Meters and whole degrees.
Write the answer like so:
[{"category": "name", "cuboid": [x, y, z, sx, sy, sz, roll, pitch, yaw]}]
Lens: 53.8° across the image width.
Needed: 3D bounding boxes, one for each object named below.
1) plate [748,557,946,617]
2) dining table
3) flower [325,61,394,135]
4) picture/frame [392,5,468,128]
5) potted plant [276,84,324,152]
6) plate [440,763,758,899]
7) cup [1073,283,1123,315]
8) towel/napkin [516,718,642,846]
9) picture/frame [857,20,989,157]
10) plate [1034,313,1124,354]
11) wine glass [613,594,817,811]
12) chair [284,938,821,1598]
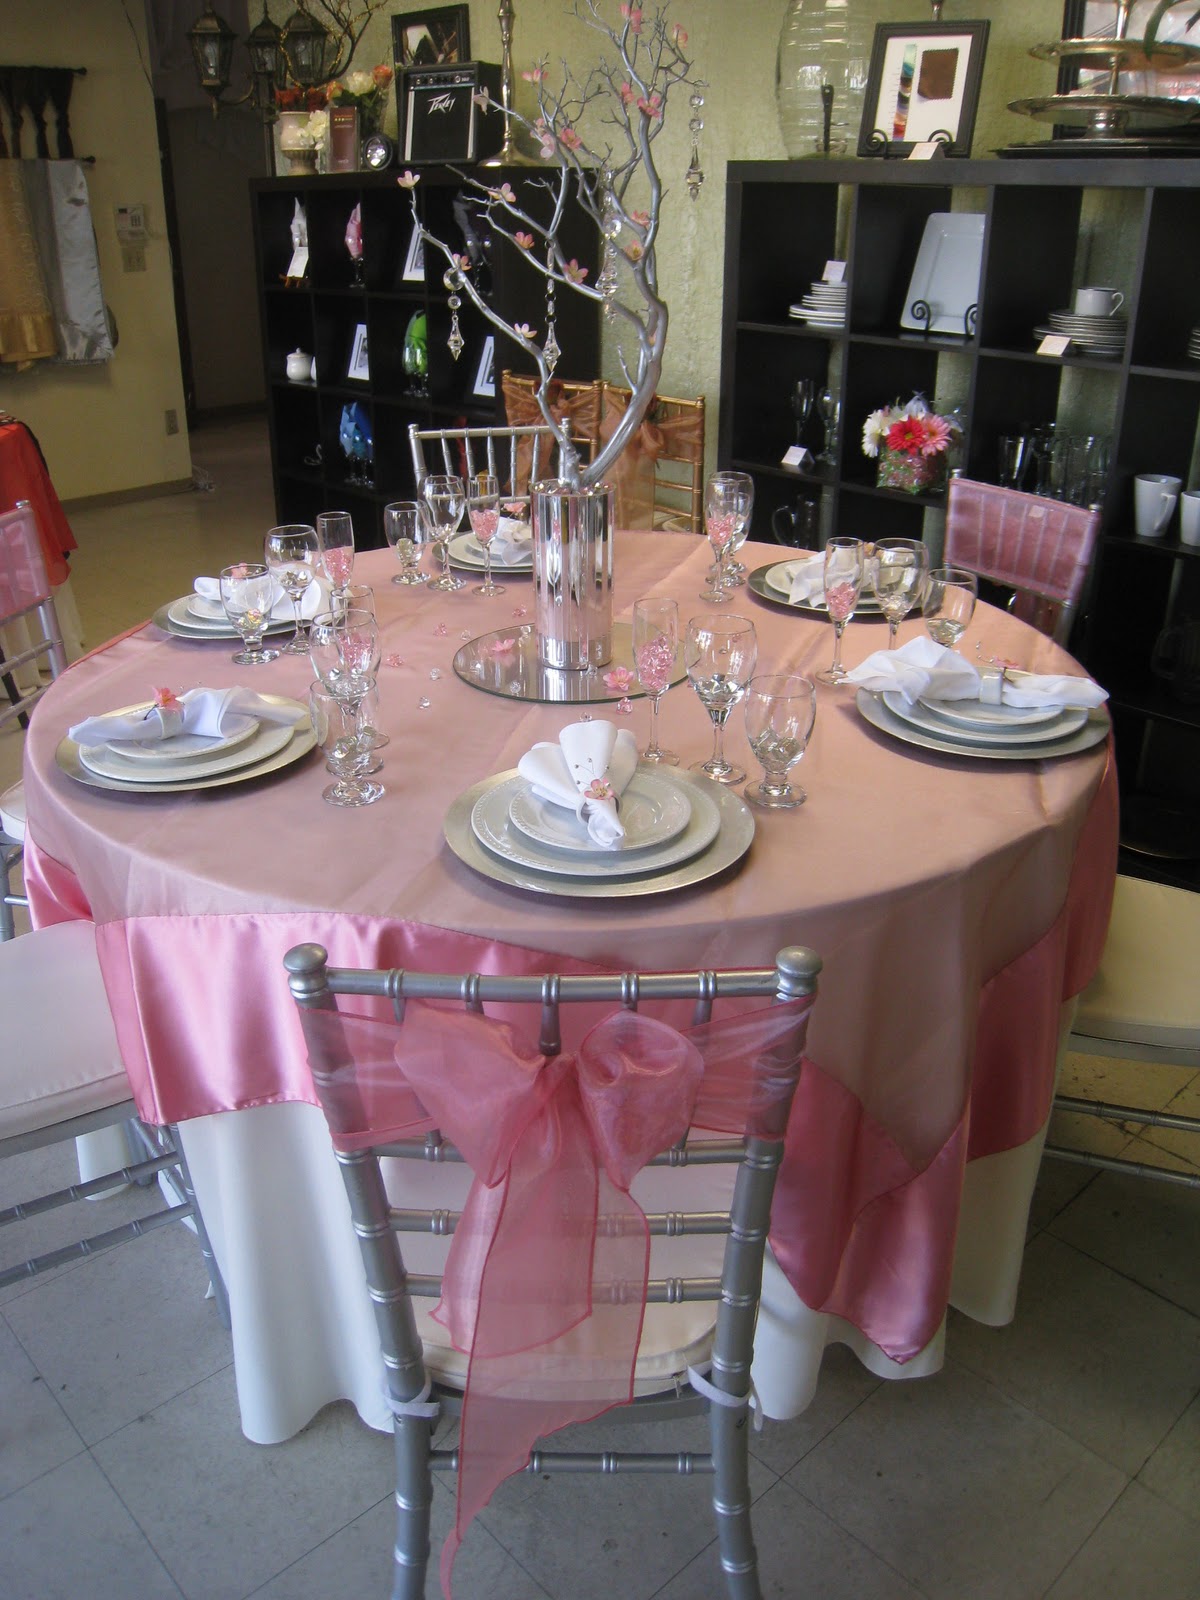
[{"category": "plate", "cuboid": [0.364, -0.306, 1.728, 0.133, 0.015, 0.132, -17, 31, -22]}, {"category": "dining table", "cuboid": [-0.019, 0.145, 1.433, 1.070, 0.601, 1.086, -2, 34, -3]}, {"category": "flower", "cuboid": [-0.917, -2.665, 4.517, 0.248, 0.190, 0.248, -4, 22, -11]}, {"category": "picture/frame", "cuboid": [-0.584, -2.582, 4.170, 0.277, 0.390, 0.574, -3, 22, -9]}, {"category": "potted plant", "cuboid": [-1.186, -2.695, 4.674, 0.103, 0.252, 0.374, -16, 27, -36]}, {"category": "plate", "cuboid": [-0.003, 0.029, 1.106, 0.292, 0.042, 0.268, 3, 22, 6]}, {"category": "cup", "cuboid": [1.138, -1.141, 2.711, 0.120, 0.086, 0.090, -21, 33, -34]}, {"category": "towel/napkin", "cuboid": [-0.013, -0.019, 1.102, 0.091, 0.040, 0.127, -15, 36, -7]}, {"category": "picture/frame", "cuboid": [0.782, -1.714, 2.848, 0.361, 0.361, 0.027, 22, 28, 33]}, {"category": "plate", "cuboid": [1.070, -1.061, 2.705, 0.145, 0.087, 0.260, -6, 23, -17]}, {"category": "wine glass", "cuboid": [0.129, -0.100, 1.331, 0.088, 0.171, 0.263, -29, 42, -33]}, {"category": "chair", "cuboid": [-0.019, 0.452, 0.948, 0.332, 0.872, 0.266, 3, 22, 5]}]
